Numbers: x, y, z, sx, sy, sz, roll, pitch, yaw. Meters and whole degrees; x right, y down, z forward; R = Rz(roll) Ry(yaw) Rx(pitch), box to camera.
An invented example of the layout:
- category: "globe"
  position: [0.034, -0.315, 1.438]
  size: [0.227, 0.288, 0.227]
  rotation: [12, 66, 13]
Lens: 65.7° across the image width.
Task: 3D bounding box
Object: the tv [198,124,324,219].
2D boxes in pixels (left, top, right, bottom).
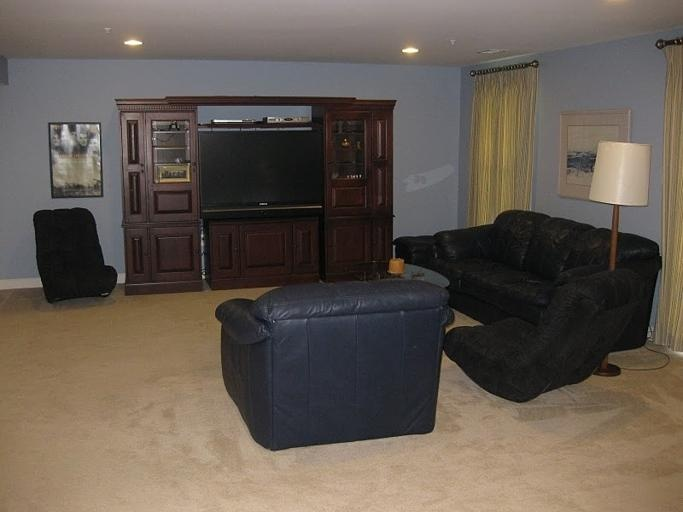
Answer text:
- category: "tv"
  position: [-1.160, -1.163, 7.150]
  size: [1.379, 0.896, 0.178]
  rotation: [-1, 11, -10]

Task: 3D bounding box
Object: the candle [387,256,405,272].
- category: "candle"
  position: [0.572, 0.081, 5.477]
  size: [0.149, 0.135, 0.145]
  rotation: [0, 6, -2]

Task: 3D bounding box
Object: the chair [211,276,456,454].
- category: "chair"
  position: [-0.074, 0.634, 3.765]
  size: [1.511, 0.996, 1.111]
  rotation: [-2, 7, -27]

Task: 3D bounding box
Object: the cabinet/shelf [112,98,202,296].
- category: "cabinet/shelf"
  position: [-2.270, -0.726, 6.669]
  size: [0.993, 2.411, 0.380]
  rotation: [-4, 15, -13]

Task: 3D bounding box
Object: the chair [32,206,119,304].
- category: "chair"
  position: [-3.371, -0.036, 6.575]
  size: [0.866, 1.409, 0.561]
  rotation: [-7, -33, -35]

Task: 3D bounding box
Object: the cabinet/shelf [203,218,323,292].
- category: "cabinet/shelf"
  position: [-1.104, 0.078, 7.351]
  size: [1.737, 1.058, 0.910]
  rotation: [-1, 7, -11]

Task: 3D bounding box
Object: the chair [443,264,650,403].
- category: "chair"
  position: [1.473, 0.525, 4.040]
  size: [1.085, 0.872, 1.099]
  rotation: [-9, 15, -31]
